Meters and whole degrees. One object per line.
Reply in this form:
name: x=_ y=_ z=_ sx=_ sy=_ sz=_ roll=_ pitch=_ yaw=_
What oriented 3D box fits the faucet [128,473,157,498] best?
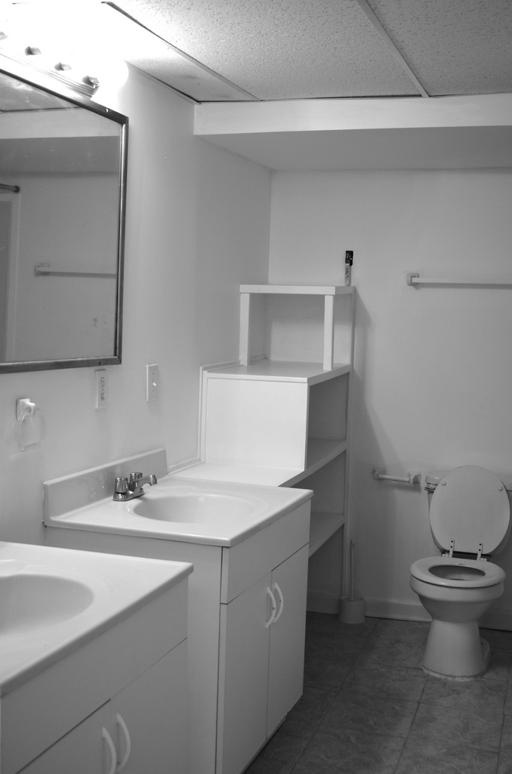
faucet: x=-0.361 y=0.298 z=1.888 sx=0.140 sy=0.091 sz=0.046 roll=-2 pitch=-1 yaw=45

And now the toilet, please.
toilet: x=0.921 y=0.796 z=2.718 sx=0.441 sy=0.833 sz=0.572 roll=1 pitch=-1 yaw=17
